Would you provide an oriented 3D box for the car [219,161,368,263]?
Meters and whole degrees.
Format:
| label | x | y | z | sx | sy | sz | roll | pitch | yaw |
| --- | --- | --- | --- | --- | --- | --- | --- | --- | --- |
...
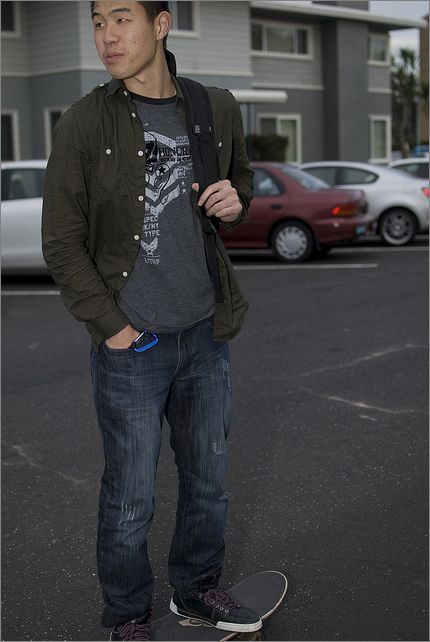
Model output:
| label | x | y | z | sx | sy | sz | roll | pitch | yaw |
| --- | --- | --- | --- | --- | --- | --- | --- | --- | --- |
| car | 1.894 | -2.326 | 12.048 | 4.138 | 1.669 | 1.946 | 1 | 8 | 8 |
